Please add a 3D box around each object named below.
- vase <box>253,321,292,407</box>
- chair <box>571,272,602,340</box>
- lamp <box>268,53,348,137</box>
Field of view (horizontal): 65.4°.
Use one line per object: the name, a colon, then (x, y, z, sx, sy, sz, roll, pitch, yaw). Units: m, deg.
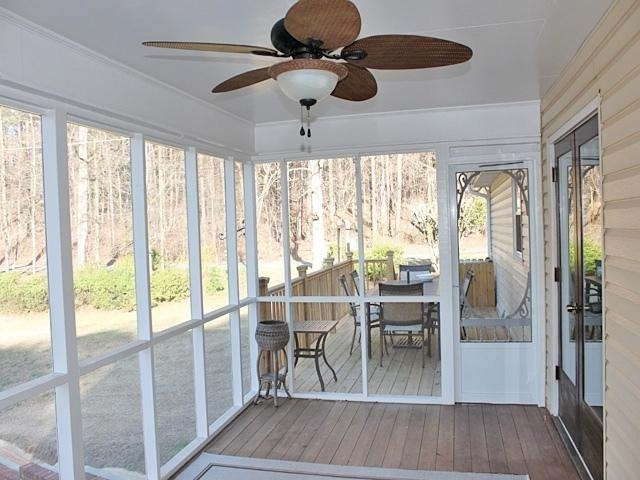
vase: (-0.489, 1.219, 5.186, 0.399, 0.821, 0.663, -3, 7, -1)
chair: (1.798, 0.461, 3.399, 0.262, 0.337, 0.242, -1, -22, 19)
lamp: (-0.049, -0.672, 2.472, 0.405, 0.244, 0.392, 6, -2, 26)
